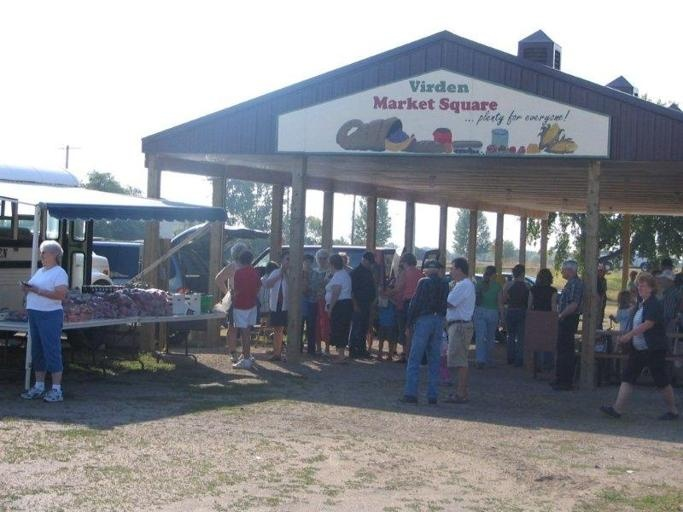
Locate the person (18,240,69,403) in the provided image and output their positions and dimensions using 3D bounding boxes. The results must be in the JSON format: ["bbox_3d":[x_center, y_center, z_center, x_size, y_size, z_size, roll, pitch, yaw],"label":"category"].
[{"bbox_3d":[-3.935,0.860,10.150,0.524,2.110,0.690,1,1,-23],"label":"person"}]

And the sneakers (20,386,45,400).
[{"bbox_3d":[-4.111,1.822,10.224,0.328,0.178,0.135,2,4,3],"label":"sneakers"}]

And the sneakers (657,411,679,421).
[{"bbox_3d":[4.484,2.190,10.498,0.256,0.121,0.117,0,1,0],"label":"sneakers"}]

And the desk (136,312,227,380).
[{"bbox_3d":[-3.126,1.506,14.050,1.460,0.826,1.031,0,3,29],"label":"desk"}]

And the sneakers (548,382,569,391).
[{"bbox_3d":[3.577,2.147,12.544,0.272,0.135,0.108,9,-2,7],"label":"sneakers"}]

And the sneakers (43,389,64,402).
[{"bbox_3d":[-3.823,1.850,10.147,0.218,0.158,0.138,3,2,8],"label":"sneakers"}]
